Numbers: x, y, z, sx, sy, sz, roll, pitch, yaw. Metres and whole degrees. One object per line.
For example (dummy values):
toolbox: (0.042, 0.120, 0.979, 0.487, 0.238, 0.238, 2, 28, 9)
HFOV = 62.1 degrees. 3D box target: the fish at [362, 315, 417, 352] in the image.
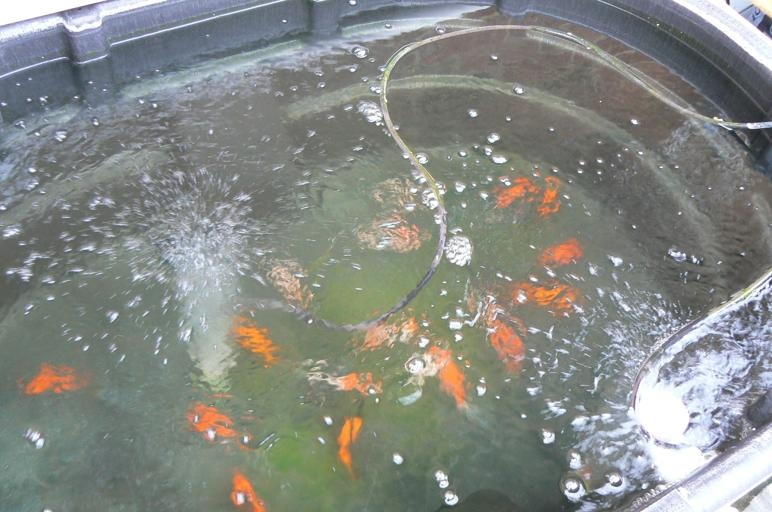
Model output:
fish: (0.023, 0.340, 2.799, 0.265, 0.027, 0.105, -17, 74, -13)

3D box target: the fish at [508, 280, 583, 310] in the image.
fish: (0.721, 0.181, 2.900, 0.265, 0.085, 0.122, 5, 63, -2)

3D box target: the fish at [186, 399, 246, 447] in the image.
fish: (-0.699, 0.682, 2.593, 0.209, 0.055, 0.127, 40, 52, 14)

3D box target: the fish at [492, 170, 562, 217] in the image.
fish: (0.711, -0.312, 3.177, 0.318, 0.060, 0.230, 8, 75, 1)
